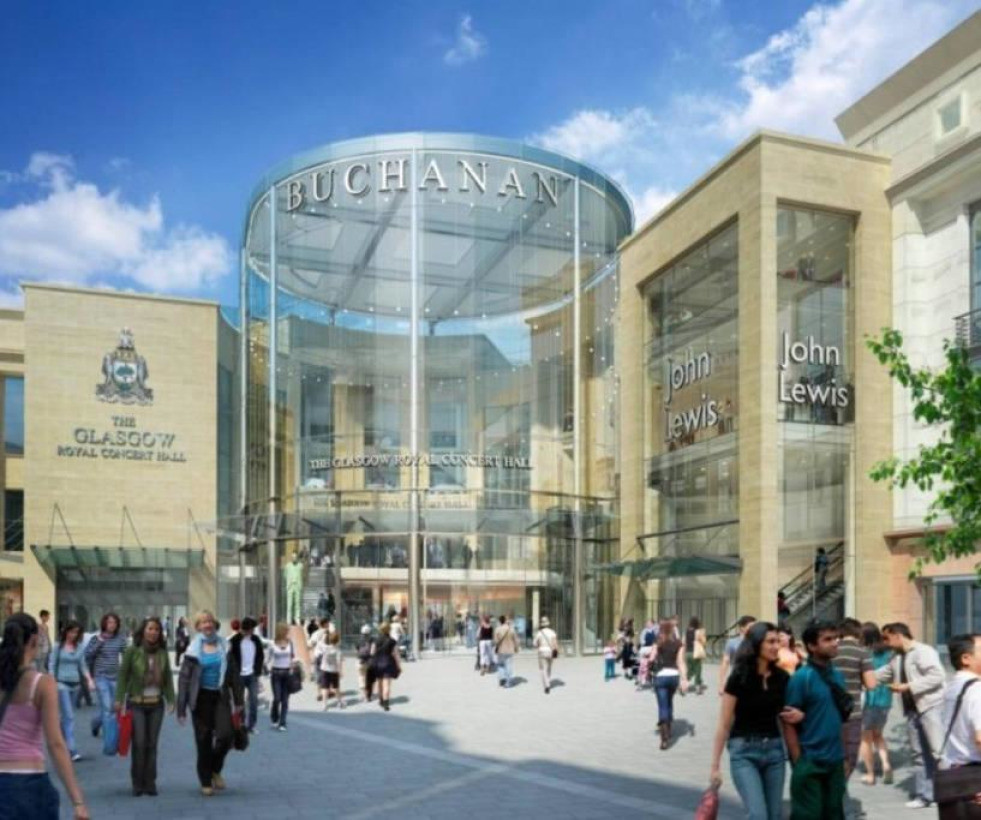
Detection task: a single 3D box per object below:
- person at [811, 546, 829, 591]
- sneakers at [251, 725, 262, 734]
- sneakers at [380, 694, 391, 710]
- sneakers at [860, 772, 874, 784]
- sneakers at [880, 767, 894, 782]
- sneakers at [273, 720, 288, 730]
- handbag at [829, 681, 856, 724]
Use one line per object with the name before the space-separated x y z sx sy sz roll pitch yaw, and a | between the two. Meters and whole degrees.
person | 8.587 4.062 33.566 0.506 1.104 0.144 7 -14 -31
sneakers | -4.184 5.667 23.011 0.082 0.099 0.228 8 -16 -40
sneakers | -2.161 5.993 26.615 0.288 0.311 0.158 -1 -6 -2
sneakers | 5.304 5.134 18.128 0.103 0.134 0.187 2 0 -18
sneakers | 5.561 5.086 18.081 0.093 0.275 0.109 -2 4 8
sneakers | -3.862 5.812 23.888 0.109 0.146 0.353 9 -19 -43
handbag | 3.806 3.133 14.001 0.183 0.404 0.298 -14 2 16
